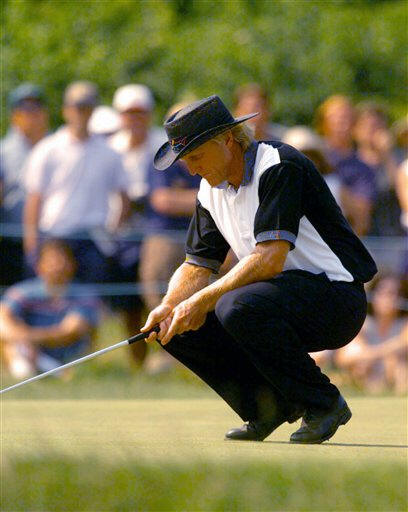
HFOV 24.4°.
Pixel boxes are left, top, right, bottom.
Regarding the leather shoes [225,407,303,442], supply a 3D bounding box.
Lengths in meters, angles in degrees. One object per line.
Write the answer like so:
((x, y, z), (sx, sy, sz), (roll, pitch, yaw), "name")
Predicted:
((0.203, 0.611, 3.435), (0.317, 0.104, 0.096), (-8, -4, -9), "leather shoes")

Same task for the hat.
((-0.022, -0.410, 3.352), (0.289, 0.113, 0.317), (-29, 6, -18), "hat")

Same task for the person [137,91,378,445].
((0.172, 0.071, 3.289), (0.829, 1.111, 0.802), (1, 35, 10), "person")
